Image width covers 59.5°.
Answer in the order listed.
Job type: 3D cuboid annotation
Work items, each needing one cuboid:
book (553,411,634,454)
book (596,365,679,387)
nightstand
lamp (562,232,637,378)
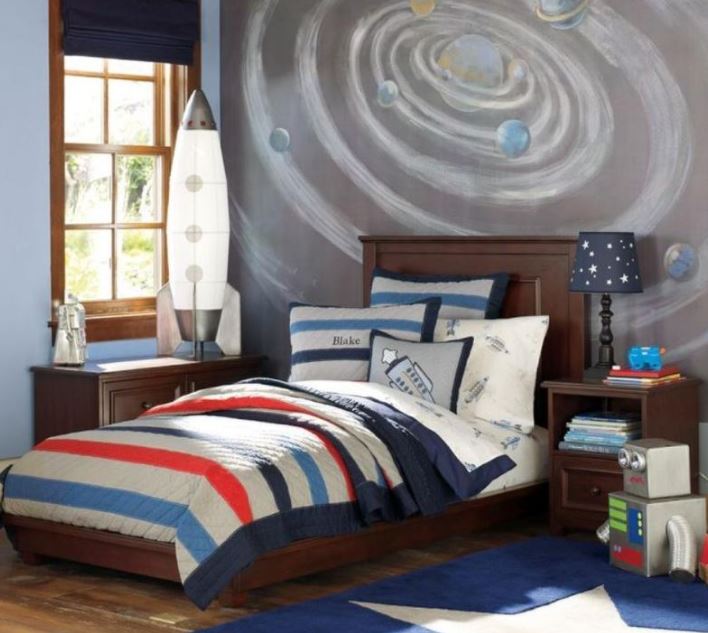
[{"bbox_3d":[1.047,0.486,2.700,0.201,0.071,0.201,2,5,30],"label":"book"},{"bbox_3d":[1.231,0.253,2.680,0.330,0.092,0.240,-3,-8,12],"label":"book"},{"bbox_3d":[1.102,0.608,2.820,0.448,0.604,0.421,-2,-5,29],"label":"nightstand"},{"bbox_3d":[1.156,-0.077,2.903,0.293,0.631,0.284,-4,-9,24],"label":"lamp"}]
